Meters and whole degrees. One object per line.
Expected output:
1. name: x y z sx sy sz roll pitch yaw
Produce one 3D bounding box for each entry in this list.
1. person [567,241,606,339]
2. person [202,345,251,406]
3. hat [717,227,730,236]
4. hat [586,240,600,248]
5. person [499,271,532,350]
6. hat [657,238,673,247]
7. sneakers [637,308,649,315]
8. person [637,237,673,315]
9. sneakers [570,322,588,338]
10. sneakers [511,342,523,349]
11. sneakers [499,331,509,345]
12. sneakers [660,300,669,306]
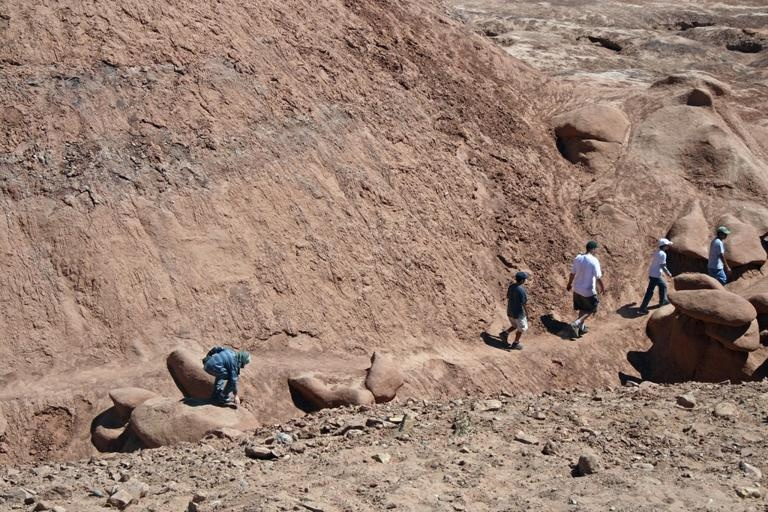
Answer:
1. person: 4.687 0.633 34.493 0.845 2.219 1.483 8 29 8
2. person: -3.309 2.581 31.261 0.892 1.270 0.815 -9 31 -22
3. hat: 7.972 -0.571 34.809 0.357 0.098 0.222 -8 26 -42
4. hat: 4.791 -0.272 34.074 0.262 0.136 0.182 -28 53 -27
5. person: 3.048 1.080 34.124 0.608 1.762 1.375 6 28 5
6. hat: 6.584 -0.293 34.742 0.398 0.117 0.240 -7 12 9
7. sneakers: 6.105 1.296 35.003 0.228 0.115 0.097 4 -12 16
8. person: 6.500 0.360 35.144 0.629 1.730 1.381 9 29 10
9. sneakers: 4.488 1.724 34.451 0.241 0.188 0.527 -28 -23 23
10. sneakers: 3.033 2.061 34.000 0.238 0.136 0.115 -8 39 12
11. sneakers: 2.761 1.882 34.205 0.248 0.118 0.306 -14 71 -14
12. sneakers: 6.613 1.100 35.065 0.251 0.161 0.131 1 11 -31
